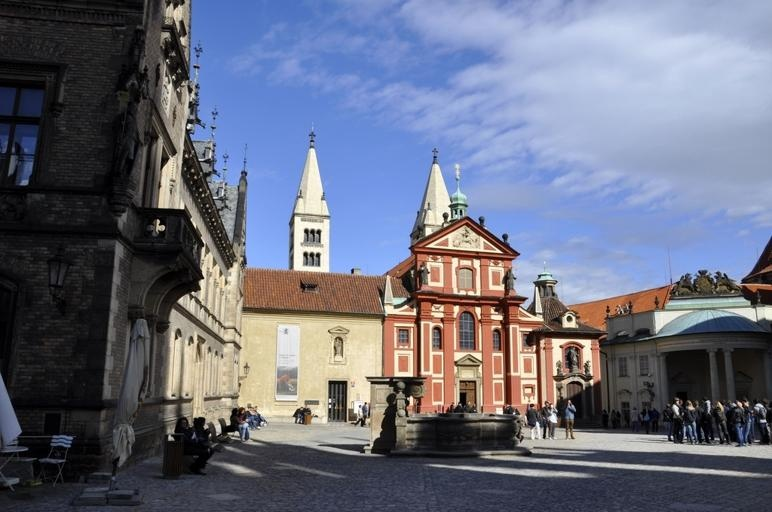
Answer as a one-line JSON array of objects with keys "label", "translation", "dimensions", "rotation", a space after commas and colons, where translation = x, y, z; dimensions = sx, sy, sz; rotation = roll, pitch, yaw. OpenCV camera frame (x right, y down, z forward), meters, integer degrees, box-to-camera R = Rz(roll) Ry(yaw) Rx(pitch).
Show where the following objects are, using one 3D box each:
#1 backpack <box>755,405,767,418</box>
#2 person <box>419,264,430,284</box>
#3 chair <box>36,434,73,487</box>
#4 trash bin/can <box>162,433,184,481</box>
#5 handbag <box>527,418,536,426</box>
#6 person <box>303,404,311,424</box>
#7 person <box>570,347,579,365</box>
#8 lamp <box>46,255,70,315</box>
[{"label": "backpack", "translation": [17.326, 7.163, 31.000], "dimensions": [0.504, 0.339, 0.442], "rotation": [-35, 7, 39]}, {"label": "person", "translation": [3.099, 1.532, 54.131], "dimensions": [0.867, 1.593, 0.553], "rotation": [1, -15, 2]}, {"label": "chair", "translation": [-8.613, 5.255, 17.458], "dimensions": [0.800, 1.234, 1.091], "rotation": [9, -17, -25]}, {"label": "trash bin/can", "translation": [-6.039, 5.652, 19.029], "dimensions": [0.544, 1.194, 0.471], "rotation": [6, -16, -16]}, {"label": "handbag", "translation": [7.667, 8.718, 35.369], "dimensions": [0.405, 0.364, 0.397], "rotation": [1, -14, -6]}, {"label": "person", "translation": [-5.613, 11.314, 47.765], "dimensions": [0.632, 1.157, 2.390], "rotation": [3, -15, -6]}, {"label": "person", "translation": [15.495, 8.285, 55.101], "dimensions": [0.730, 1.486, 0.212], "rotation": [11, -18, -32]}, {"label": "lamp", "translation": [-8.911, 0.746, 18.191], "dimensions": [0.428, 1.558, 0.701], "rotation": [4, -15, -8]}]
